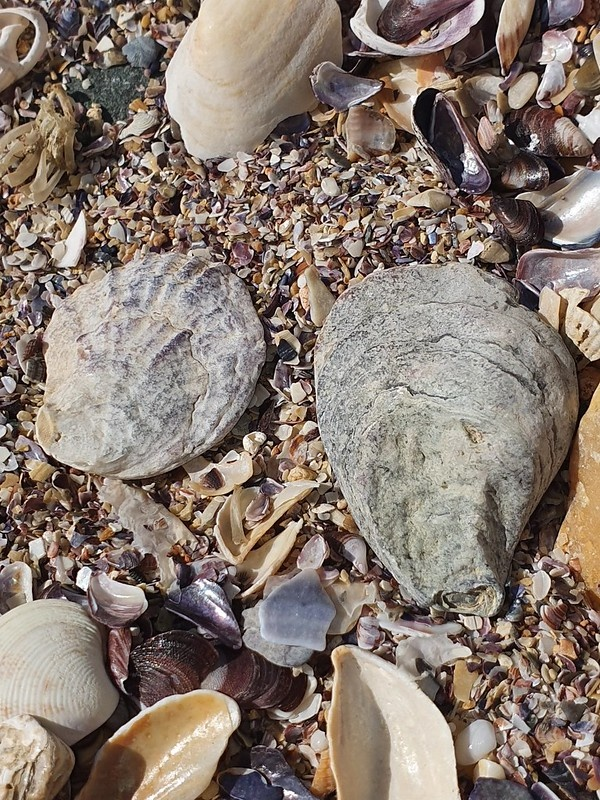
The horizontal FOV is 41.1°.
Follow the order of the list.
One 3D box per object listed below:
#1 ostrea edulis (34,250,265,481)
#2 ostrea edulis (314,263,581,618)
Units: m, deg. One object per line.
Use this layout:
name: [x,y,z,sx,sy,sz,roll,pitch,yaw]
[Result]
ostrea edulis: [-0.345,-0.089,1.881,0.521,0.173,0.497,-12,63,4]
ostrea edulis: [0.327,0.077,1.693,0.645,0.221,0.678,-8,87,23]
